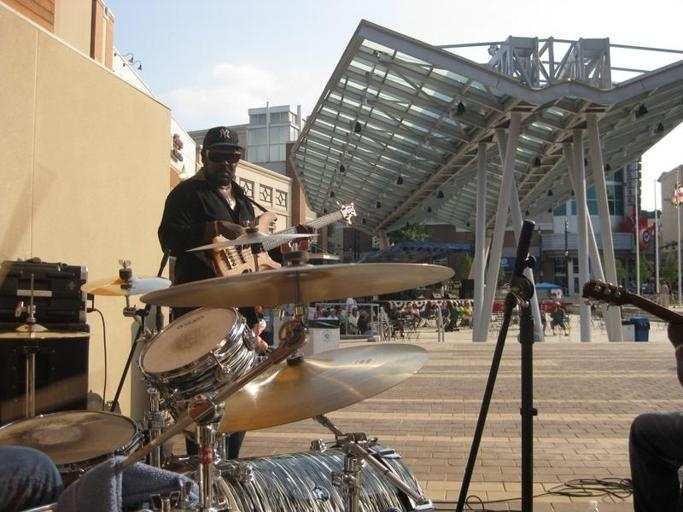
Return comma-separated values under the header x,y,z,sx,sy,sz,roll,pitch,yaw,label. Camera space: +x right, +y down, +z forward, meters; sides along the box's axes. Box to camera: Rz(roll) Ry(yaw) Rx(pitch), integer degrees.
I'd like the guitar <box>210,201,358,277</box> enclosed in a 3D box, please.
x,y,z,sx,sy,sz,roll,pitch,yaw,label
-0.574,-0.076,7.264,1.157,0.586,0.926,12,6,36,guitar

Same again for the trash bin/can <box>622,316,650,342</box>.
x,y,z,sx,sy,sz,roll,pitch,yaw,label
7.166,1.743,20.891,0.556,0.671,0.580,-2,-1,10,trash bin/can

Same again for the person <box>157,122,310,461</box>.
x,y,z,sx,sy,sz,roll,pitch,yaw,label
-1.107,0.352,7.920,0.948,2.992,1.135,10,8,28,person
